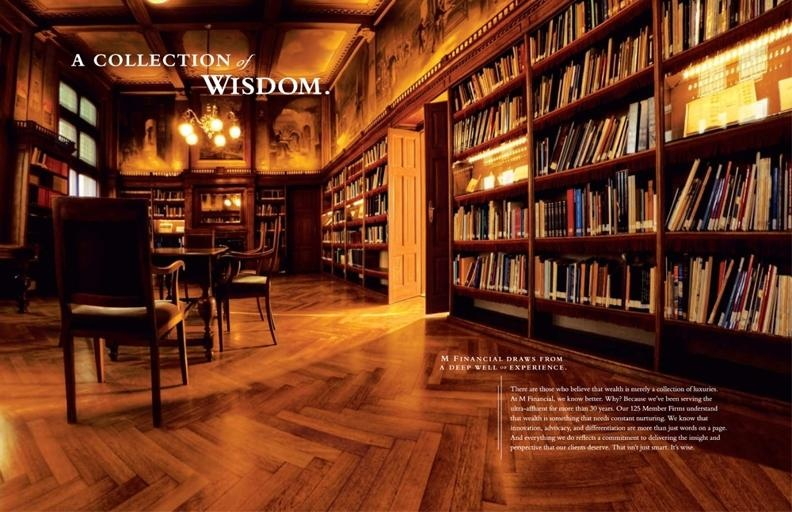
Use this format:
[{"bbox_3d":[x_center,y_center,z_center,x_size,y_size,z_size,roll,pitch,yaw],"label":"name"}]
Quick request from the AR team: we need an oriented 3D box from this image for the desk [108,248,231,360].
[{"bbox_3d":[-2.208,0.216,5.218,0.989,1.251,1.335,0,2,9],"label":"desk"}]

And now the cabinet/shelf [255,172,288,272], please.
[{"bbox_3d":[-2.967,-1.060,12.466,0.696,1.846,0.275,4,-46,-15],"label":"cabinet/shelf"}]

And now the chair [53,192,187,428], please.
[{"bbox_3d":[-2.206,0.381,4.102,0.869,1.683,0.657,-1,12,2],"label":"chair"}]

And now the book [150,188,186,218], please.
[{"bbox_3d":[-5.340,-1.245,12.265,0.975,0.925,0.307,-1,2,-20],"label":"book"}]

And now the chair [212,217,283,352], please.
[{"bbox_3d":[-1.737,0.289,6.072,0.630,1.230,1.592,-1,0,-19],"label":"chair"}]

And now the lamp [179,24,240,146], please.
[{"bbox_3d":[-3.689,-3.398,10.406,1.120,2.033,1.083,2,8,12],"label":"lamp"}]
